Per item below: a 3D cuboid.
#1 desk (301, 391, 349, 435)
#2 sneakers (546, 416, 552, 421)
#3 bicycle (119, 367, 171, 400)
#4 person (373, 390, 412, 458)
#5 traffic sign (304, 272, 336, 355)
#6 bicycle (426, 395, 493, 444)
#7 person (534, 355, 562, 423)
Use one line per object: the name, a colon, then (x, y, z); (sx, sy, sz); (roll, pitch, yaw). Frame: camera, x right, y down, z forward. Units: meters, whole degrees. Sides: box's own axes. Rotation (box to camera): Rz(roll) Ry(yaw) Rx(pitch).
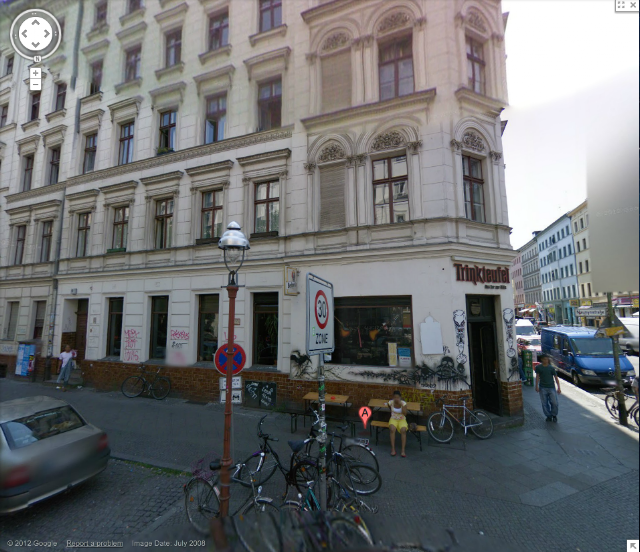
desk: (0.214, 3.838, 13.676); (1.500, 1.207, 0.832); (-2, -15, 11)
sneakers: (6.757, 4.224, 13.631); (0.089, 0.136, 0.225); (2, -10, -16)
bicycle: (-6.531, 3.988, 17.211); (2.143, 1.138, 0.531); (-6, -10, 26)
person: (2.114, 4.032, 12.284); (1.632, 1.277, 0.804); (7, -10, -11)
traffic sign: (0.011, 0.715, 8.383); (0.238, 1.395, 1.071); (-4, -10, 18)
bicycle: (3.870, 3.984, 12.767); (1.833, 1.346, 0.855); (-2, -12, 0)
person: (6.883, 3.373, 13.946); (0.599, 1.963, 0.793); (-6, -10, 29)
